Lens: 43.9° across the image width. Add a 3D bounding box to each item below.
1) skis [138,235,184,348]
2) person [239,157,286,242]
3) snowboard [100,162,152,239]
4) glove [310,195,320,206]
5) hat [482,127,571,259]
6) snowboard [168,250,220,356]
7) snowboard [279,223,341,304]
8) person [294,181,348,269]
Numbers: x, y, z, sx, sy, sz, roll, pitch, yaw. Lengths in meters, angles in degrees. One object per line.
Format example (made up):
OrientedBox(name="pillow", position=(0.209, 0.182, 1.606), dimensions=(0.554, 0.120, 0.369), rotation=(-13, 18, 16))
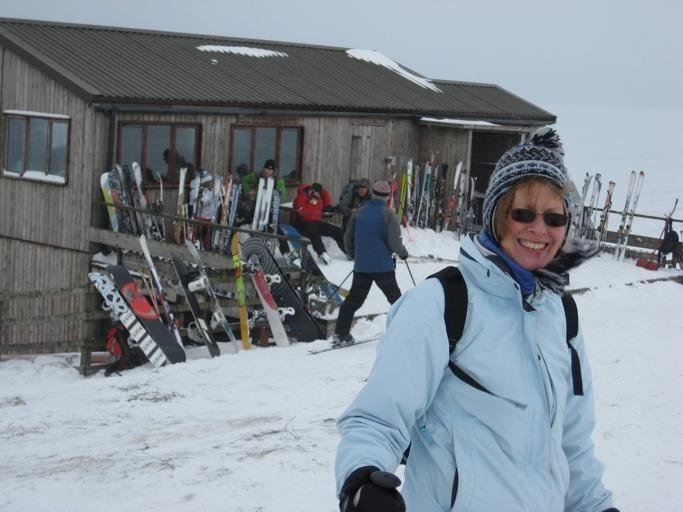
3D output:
OrientedBox(name="skis", position=(-2.801, 0.558, 13.102), dimensions=(0.190, 1.845, 0.169), rotation=(-11, -17, -32))
OrientedBox(name="person", position=(-1.416, -0.974, 15.277), dimensions=(0.766, 1.732, 0.493), rotation=(8, -17, -9))
OrientedBox(name="snowboard", position=(-3.630, -0.894, 14.219), dimensions=(0.517, 2.012, 0.285), rotation=(-16, 12, -34))
OrientedBox(name="glove", position=(-0.510, -1.038, 15.692), dimensions=(0.138, 0.197, 0.062), rotation=(6, -7, -15))
OrientedBox(name="hat", position=(1.170, -0.468, 5.472), dimensions=(0.528, 0.785, 0.500), rotation=(3, -2, -1))
OrientedBox(name="snowboard", position=(-2.276, 0.700, 13.045), dimensions=(0.218, 1.629, 0.167), rotation=(-8, -20, -41))
OrientedBox(name="snowboard", position=(-0.580, 0.066, 14.732), dimensions=(0.581, 0.374, 2.169), rotation=(33, 20, -41))
OrientedBox(name="person", position=(-0.412, -0.775, 15.812), dimensions=(0.777, 1.496, 0.970), rotation=(-9, 19, -36))
